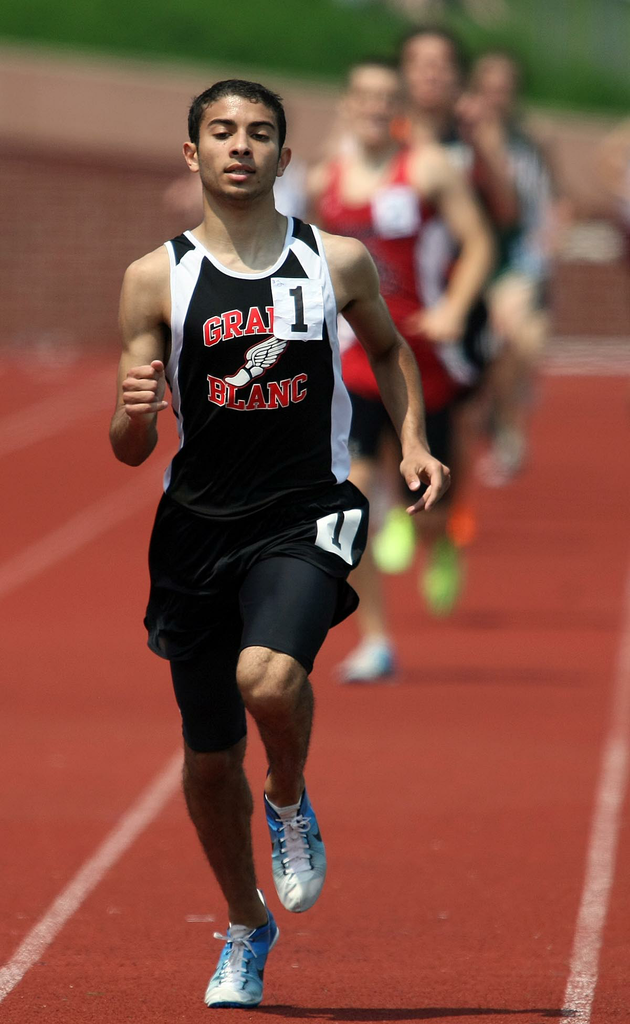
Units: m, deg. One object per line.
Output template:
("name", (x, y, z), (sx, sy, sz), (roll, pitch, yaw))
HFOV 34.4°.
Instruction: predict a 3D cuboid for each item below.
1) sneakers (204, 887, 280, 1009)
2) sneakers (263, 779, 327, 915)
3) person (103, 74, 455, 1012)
("sneakers", (-0.125, 0.747, 1.727), (0.060, 0.066, 0.171), (-3, 29, 12))
("sneakers", (-0.039, 0.535, 1.662), (0.080, 0.087, 0.215), (-11, 61, 4))
("person", (-0.049, 0.077, 1.678), (0.547, 1.597, 0.522), (-2, 9, -10))
